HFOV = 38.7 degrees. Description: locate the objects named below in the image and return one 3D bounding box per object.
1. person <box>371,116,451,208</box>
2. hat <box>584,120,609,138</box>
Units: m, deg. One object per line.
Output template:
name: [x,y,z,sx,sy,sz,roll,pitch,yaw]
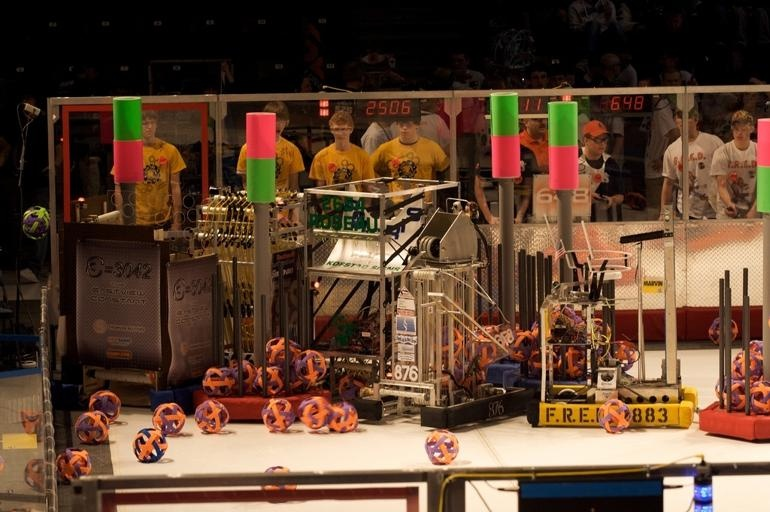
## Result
person: [0.332,-1.302,14.790,1.257,1.553,0.596,0,23,6]
hat: [2.957,-1.772,15.239,0.280,0.165,0.210,-1,2,45]
